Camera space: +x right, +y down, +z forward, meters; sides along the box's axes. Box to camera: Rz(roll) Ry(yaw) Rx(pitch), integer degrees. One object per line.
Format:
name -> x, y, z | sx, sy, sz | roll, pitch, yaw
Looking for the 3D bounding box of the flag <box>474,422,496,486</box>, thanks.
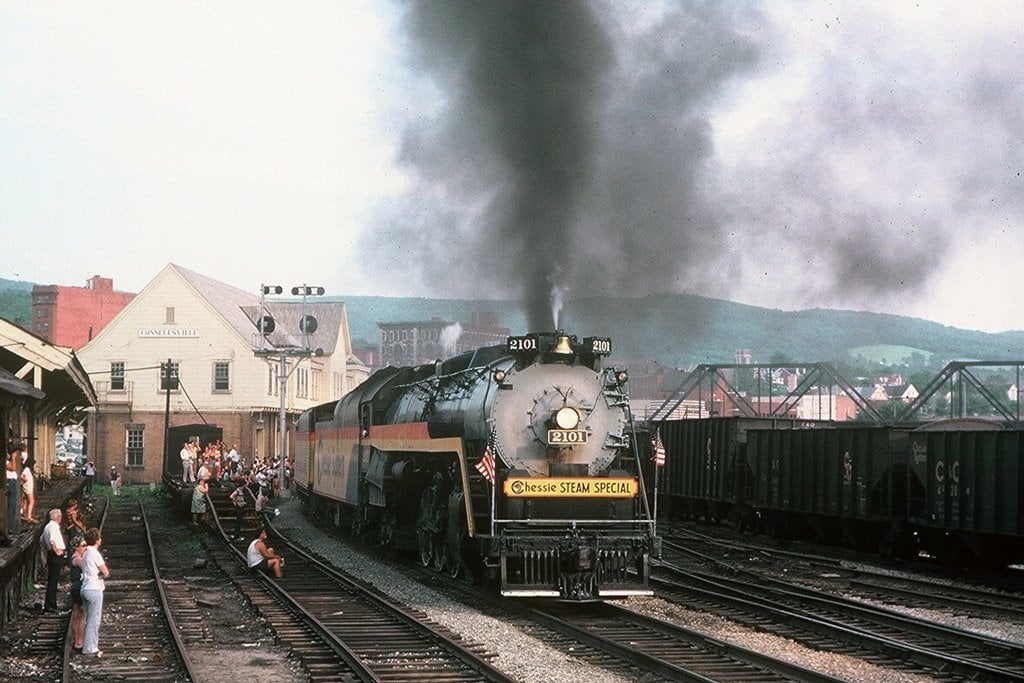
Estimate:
flag -> -0.532, 2.381, 19.347 | 0.359, 1.137, 0.744 | -1, -7, -2
